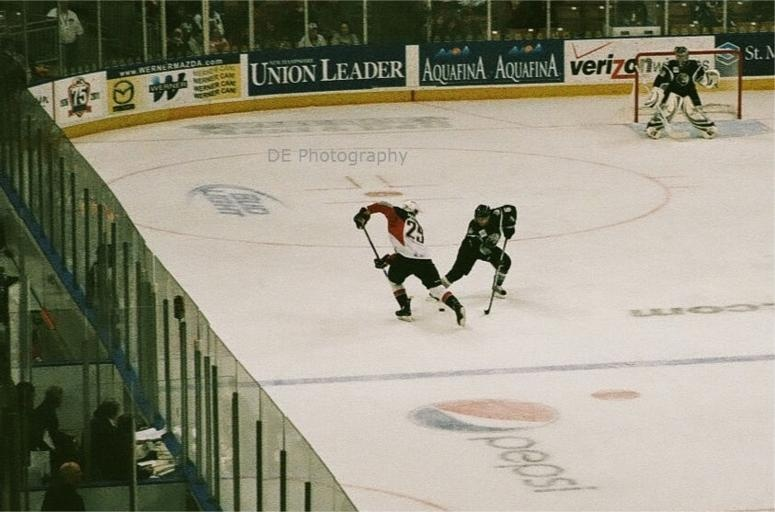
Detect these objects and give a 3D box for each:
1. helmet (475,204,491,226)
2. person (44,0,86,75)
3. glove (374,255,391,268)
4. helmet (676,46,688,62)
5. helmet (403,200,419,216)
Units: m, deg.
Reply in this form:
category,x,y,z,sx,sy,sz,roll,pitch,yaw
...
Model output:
category,x,y,z,sx,sy,sz,roll,pitch,yaw
helmet,1.491,-0.635,22.126,0.246,0.308,0.244,13,9,0
person,-6.878,-4.752,31.033,0.889,1.555,1.431,12,8,-13
glove,0.008,0.103,22.069,0.309,0.081,0.239,-13,20,-3
helmet,6.366,-4.353,30.877,0.299,0.296,0.414,13,8,11
helmet,0.375,-0.743,21.995,0.244,0.190,0.334,11,7,1
